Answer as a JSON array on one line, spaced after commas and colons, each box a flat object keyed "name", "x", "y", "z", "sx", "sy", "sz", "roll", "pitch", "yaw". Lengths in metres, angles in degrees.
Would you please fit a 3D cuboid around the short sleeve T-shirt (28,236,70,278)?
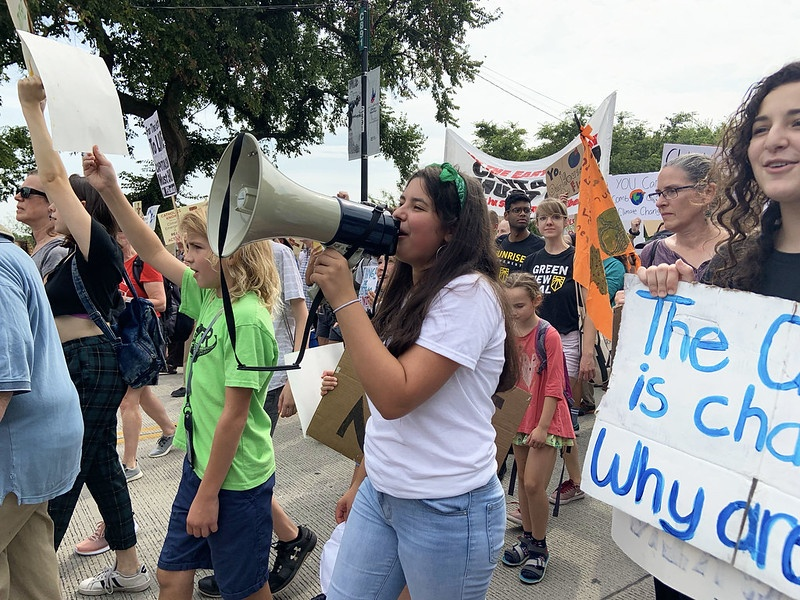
[{"name": "short sleeve T-shirt", "x": -2.079, "y": -0.258, "z": 3.211, "sx": 0.170, "sy": 0.321, "sz": 0.303, "roll": 4, "pitch": -3, "yaw": -43}]

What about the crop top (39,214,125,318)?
[{"name": "crop top", "x": -1.832, "y": -0.116, "z": 3.189, "sx": 0.408, "sy": 0.755, "sz": 0.696, "roll": 2, "pitch": 2, "yaw": -28}]

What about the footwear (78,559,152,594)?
[{"name": "footwear", "x": -1.684, "y": 1.657, "z": 3.254, "sx": 0.402, "sy": 0.195, "sz": 0.173, "roll": 8, "pitch": -8, "yaw": -7}]

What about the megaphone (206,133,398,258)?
[{"name": "megaphone", "x": -0.353, "y": -0.363, "z": 1.855, "sx": 0.687, "sy": 0.431, "sz": 0.301, "roll": -2, "pitch": 10, "yaw": 0}]

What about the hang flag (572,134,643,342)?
[{"name": "hang flag", "x": 1.416, "y": -0.476, "z": 3.814, "sx": 0.364, "sy": 1.665, "sz": 0.196, "roll": -9, "pitch": -30, "yaw": 25}]

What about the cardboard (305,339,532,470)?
[{"name": "cardboard", "x": -0.186, "y": 0.546, "z": 3.824, "sx": 1.027, "sy": 0.801, "sz": 0.304, "roll": 21, "pitch": 10, "yaw": 9}]

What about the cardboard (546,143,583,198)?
[{"name": "cardboard", "x": 2.056, "y": -1.541, "z": 6.676, "sx": 0.062, "sy": 0.554, "sz": 0.734, "roll": 3, "pitch": -6, "yaw": -16}]
